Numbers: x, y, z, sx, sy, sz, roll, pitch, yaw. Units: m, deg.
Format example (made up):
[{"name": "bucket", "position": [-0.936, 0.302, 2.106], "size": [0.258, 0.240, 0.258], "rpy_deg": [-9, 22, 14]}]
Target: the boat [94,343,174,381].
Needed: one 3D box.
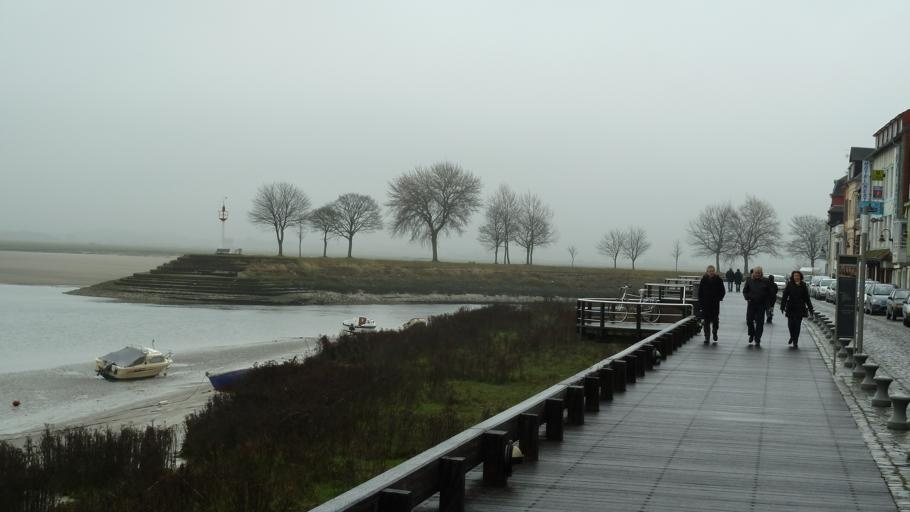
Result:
[{"name": "boat", "position": [-22.800, 7.769, 58.353], "size": [5.038, 1.640, 2.649], "rpy_deg": [-2, 7, -26]}]
